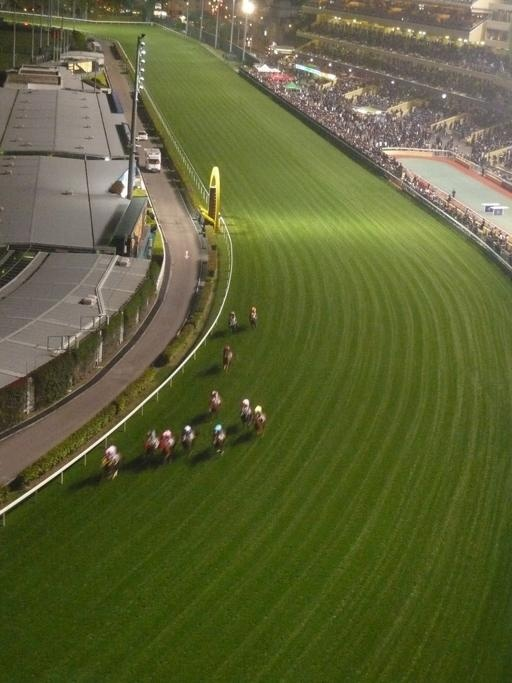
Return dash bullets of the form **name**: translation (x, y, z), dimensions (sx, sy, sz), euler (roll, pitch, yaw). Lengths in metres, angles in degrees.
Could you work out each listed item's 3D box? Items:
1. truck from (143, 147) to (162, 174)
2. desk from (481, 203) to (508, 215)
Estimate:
- **truck**: translation (-7.371, -13.002, 48.339), dimensions (0.971, 1.515, 3.040), euler (0, 29, -7)
- **desk**: translation (17.898, -9.960, 50.514), dimensions (1.438, 0.686, 2.647), euler (24, 29, 25)
